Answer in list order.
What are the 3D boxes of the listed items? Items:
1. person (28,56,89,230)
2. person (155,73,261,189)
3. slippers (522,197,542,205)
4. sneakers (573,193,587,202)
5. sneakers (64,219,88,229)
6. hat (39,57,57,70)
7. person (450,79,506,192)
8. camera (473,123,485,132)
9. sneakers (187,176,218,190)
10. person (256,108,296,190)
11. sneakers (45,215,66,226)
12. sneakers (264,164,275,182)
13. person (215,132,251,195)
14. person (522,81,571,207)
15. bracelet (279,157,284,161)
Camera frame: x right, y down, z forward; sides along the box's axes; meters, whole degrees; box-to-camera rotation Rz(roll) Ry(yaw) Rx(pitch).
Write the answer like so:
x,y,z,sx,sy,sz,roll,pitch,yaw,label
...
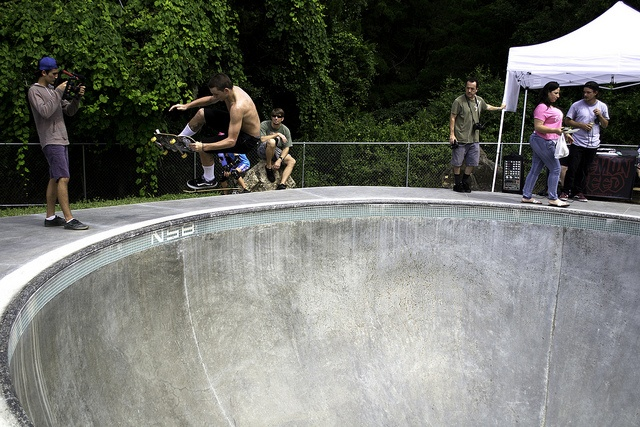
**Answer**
x,y,z,sx,sy,sz,roll,pitch,yaw,label
-3.590,-0.974,7.235,0.665,2.257,0.948,-7,16,-25,person
-1.594,-1.212,8.194,1.118,1.874,1.008,8,17,31,person
3.555,-0.220,8.764,0.273,0.109,0.125,1,6,21,slippers
4.649,-0.275,9.341,0.106,0.139,0.318,-2,3,-30,sneakers
-3.323,0.148,7.160,0.256,0.116,0.140,2,7,3,sneakers
-3.743,-2.011,7.160,0.212,0.142,0.170,14,35,23,hat
2.783,-1.439,9.871,0.623,2.106,0.539,3,15,15,person
2.940,-1.600,9.692,0.129,0.106,0.190,1,-3,-5,camera
-1.968,-0.498,8.848,0.522,0.257,0.203,5,5,-15,sneakers
-0.883,-1.315,10.744,0.721,1.632,0.798,-3,15,-8,person
-3.695,0.091,7.363,0.304,0.135,0.140,-5,9,-10,sneakers
-1.037,-0.821,10.884,0.123,0.319,0.121,-21,14,-15,sneakers
-1.771,-0.968,10.647,0.657,1.162,0.579,-21,2,14,person
3.712,-1.100,8.523,0.687,1.983,0.583,6,16,26,person
-0.777,-1.132,10.855,0.062,0.047,0.060,3,-8,11,bracelet
